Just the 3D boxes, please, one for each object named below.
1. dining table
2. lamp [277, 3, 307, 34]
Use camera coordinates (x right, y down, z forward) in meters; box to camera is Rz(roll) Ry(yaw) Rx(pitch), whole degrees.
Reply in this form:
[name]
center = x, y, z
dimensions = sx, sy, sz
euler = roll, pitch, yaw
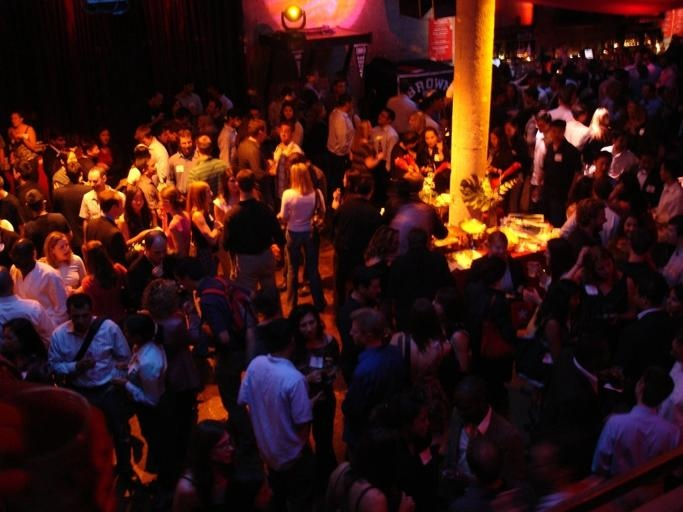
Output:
[dining table]
center = 1.703, -0.170, 5.692
dimensions = 1.260, 0.693, 0.290
euler = -2, -12, -5
[lamp]
center = -1.017, -4.886, 11.598
dimensions = 0.541, 0.622, 1.265
euler = -3, 17, -3
